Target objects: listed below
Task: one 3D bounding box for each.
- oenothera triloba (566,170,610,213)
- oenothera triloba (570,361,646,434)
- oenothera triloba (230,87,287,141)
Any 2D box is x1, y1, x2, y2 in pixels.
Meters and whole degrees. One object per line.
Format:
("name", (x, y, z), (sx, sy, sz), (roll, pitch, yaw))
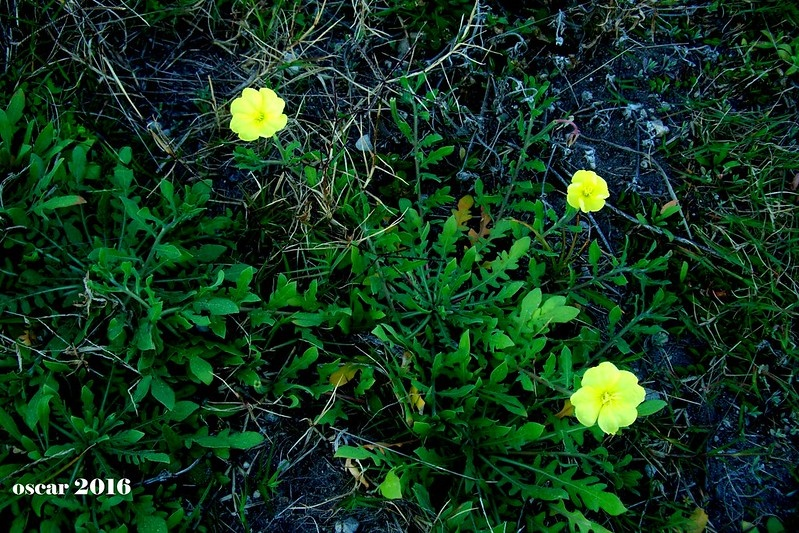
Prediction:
("oenothera triloba", (0.965, -0.350, 2.789), (0.095, 0.205, 0.214), (-22, 20, 9))
("oenothera triloba", (0.941, 0.566, 2.501), (0.261, 0.113, 0.320), (4, 21, -6))
("oenothera triloba", (-0.708, -0.754, 2.772), (0.237, 0.268, 0.116), (-30, -2, 2))
